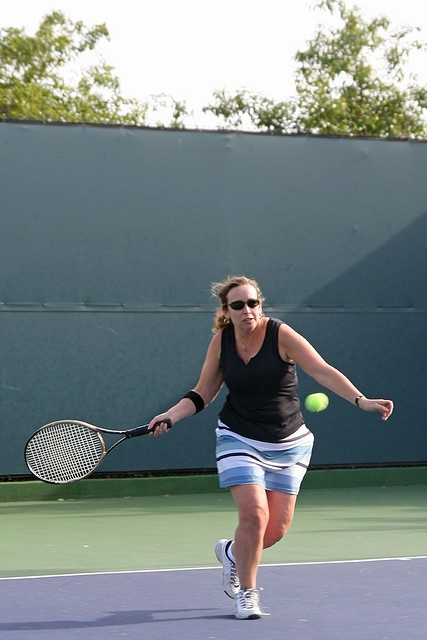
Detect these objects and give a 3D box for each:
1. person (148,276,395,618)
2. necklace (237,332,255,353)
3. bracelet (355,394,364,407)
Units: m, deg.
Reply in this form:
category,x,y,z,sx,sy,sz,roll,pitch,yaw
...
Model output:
category,x,y,z,sx,sy,sz,roll,pitch,yaw
person,0.210,0.500,2.810,0.891,1.326,0.475,6,1,40
necklace,0.131,0.103,2.845,0.059,0.070,0.019,-5,0,25
bracelet,0.572,0.322,2.643,0.039,0.045,0.026,-3,5,-32
